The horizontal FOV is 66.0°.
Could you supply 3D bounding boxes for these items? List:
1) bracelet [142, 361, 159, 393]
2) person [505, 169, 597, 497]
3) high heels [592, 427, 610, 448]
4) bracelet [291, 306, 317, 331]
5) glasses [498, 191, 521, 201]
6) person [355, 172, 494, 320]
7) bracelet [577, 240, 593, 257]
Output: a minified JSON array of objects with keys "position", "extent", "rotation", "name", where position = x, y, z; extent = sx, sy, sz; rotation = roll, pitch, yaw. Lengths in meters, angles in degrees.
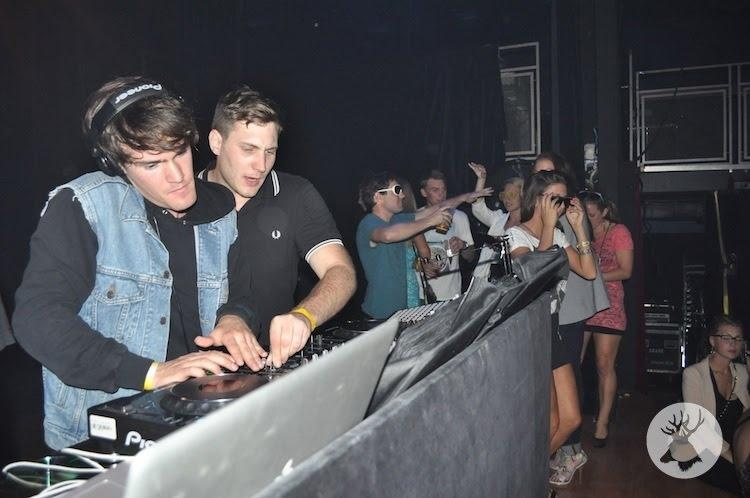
[{"position":[-0.807,0.456,2.094],"extent":[0.018,0.078,0.078],"rotation":[10,-17,-9],"name":"bracelet"},{"position":[1.165,0.533,3.868],"extent":[0.519,2.110,0.861],"rotation":[2,7,26],"name":"person"},{"position":[1.720,1.437,4.454],"extent":[0.068,0.091,0.226],"rotation":[-4,1,26],"name":"high heels"},{"position":[-0.297,0.302,2.471],"extent":[0.094,0.096,0.066],"rotation":[-2,19,-41],"name":"bracelet"},{"position":[1.129,-0.456,4.876],"extent":[0.126,0.048,0.129],"rotation":[0,2,26],"name":"glasses"},{"position":[0.214,-0.044,4.210],"extent":[0.699,1.002,0.670],"rotation":[-5,7,-29],"name":"person"},{"position":[1.427,-0.008,3.943],"extent":[0.093,0.089,0.083],"rotation":[11,-18,-39],"name":"bracelet"}]
